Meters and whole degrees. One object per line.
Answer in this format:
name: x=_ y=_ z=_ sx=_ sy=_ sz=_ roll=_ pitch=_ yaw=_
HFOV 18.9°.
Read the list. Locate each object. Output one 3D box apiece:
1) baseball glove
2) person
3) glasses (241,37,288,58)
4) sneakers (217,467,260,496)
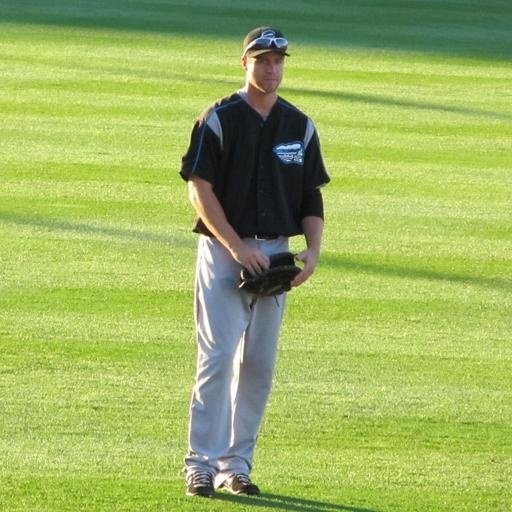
baseball glove: x=0.070 y=0.142 z=11.015 sx=0.346 sy=0.303 sz=0.127 roll=-7 pitch=32 yaw=-16
person: x=-0.067 y=0.057 z=11.083 sx=1.005 sy=3.311 sz=0.628 roll=-1 pitch=12 yaw=-23
glasses: x=0.045 y=-1.475 z=10.986 sx=0.203 sy=0.108 sz=0.320 roll=-1 pitch=5 yaw=-15
sneakers: x=-0.163 y=1.638 z=11.173 sx=0.360 sy=0.173 sz=0.137 roll=2 pitch=0 yaw=30
